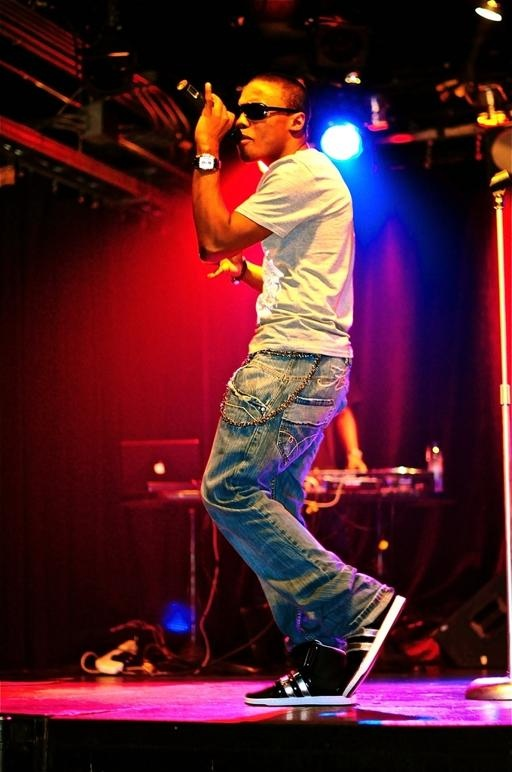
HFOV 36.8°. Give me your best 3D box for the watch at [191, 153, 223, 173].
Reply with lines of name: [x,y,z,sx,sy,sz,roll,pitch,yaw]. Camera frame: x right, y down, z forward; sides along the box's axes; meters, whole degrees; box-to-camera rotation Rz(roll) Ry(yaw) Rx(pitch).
watch: [-0.118,-0.544,1.885,0.062,0.052,0.065,0,4,-7]

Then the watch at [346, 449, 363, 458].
watch: [0.605,0.414,4.727,0.063,0.054,0.059,-2,4,10]

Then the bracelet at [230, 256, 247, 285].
bracelet: [-0.044,-0.352,2.331,0.048,0.079,0.061,9,22,27]

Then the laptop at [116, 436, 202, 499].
laptop: [-0.518,0.462,4.299,0.551,0.264,0.353,-1,-1,-8]

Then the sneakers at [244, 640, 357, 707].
sneakers: [0.119,0.709,1.872,0.311,0.163,0.113,3,-20,2]
